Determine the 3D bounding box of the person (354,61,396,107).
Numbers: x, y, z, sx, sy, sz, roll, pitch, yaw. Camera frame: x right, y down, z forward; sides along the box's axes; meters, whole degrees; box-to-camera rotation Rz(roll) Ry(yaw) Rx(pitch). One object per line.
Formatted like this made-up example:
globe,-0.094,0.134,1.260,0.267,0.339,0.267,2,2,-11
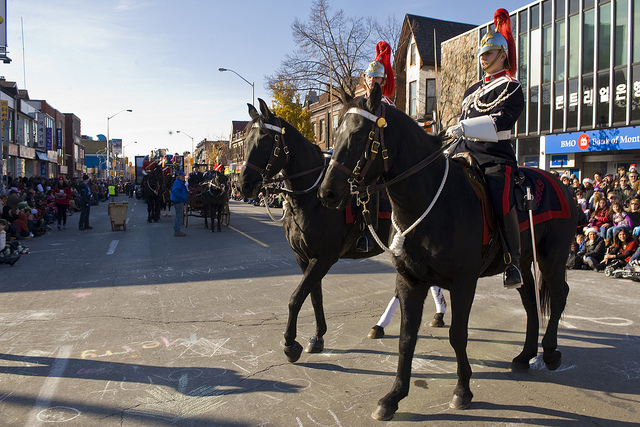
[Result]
person,0.824,-1.999,7.815,0.856,0.589,0.948,5,22,2

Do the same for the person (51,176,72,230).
person,-11.760,-0.559,23.457,0.833,2.343,1.081,0,0,7

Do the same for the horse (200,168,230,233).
horse,-4.280,-0.532,20.987,1.038,2.484,2.472,-3,10,-13

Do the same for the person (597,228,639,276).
person,7.223,0.901,12.535,0.771,1.005,1.157,8,13,41

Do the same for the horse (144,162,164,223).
horse,-8.317,-1.013,25.785,1.002,2.754,4.203,0,2,-24

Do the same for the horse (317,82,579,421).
horse,1.617,0.387,6.336,3.447,3.820,1.005,-6,11,-29
